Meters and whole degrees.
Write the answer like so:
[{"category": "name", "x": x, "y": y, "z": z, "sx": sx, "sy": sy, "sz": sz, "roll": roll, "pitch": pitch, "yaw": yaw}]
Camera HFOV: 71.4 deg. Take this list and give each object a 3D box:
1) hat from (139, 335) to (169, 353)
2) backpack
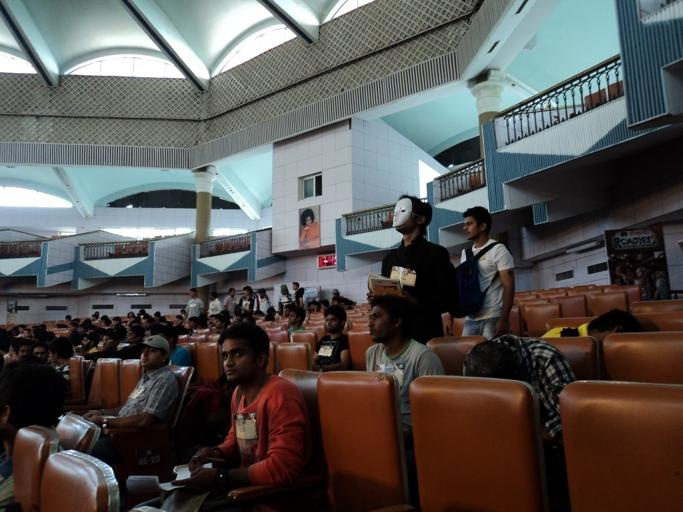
[{"category": "hat", "x": -1.386, "y": 0.662, "z": 3.558, "sx": 0.116, "sy": 0.086, "sz": 0.161, "roll": 7, "pitch": -11, "yaw": 32}, {"category": "backpack", "x": 1.019, "y": 0.174, "z": 3.546, "sx": 0.283, "sy": 0.601, "sz": 0.376, "roll": 6, "pitch": -4, "yaw": 18}]
